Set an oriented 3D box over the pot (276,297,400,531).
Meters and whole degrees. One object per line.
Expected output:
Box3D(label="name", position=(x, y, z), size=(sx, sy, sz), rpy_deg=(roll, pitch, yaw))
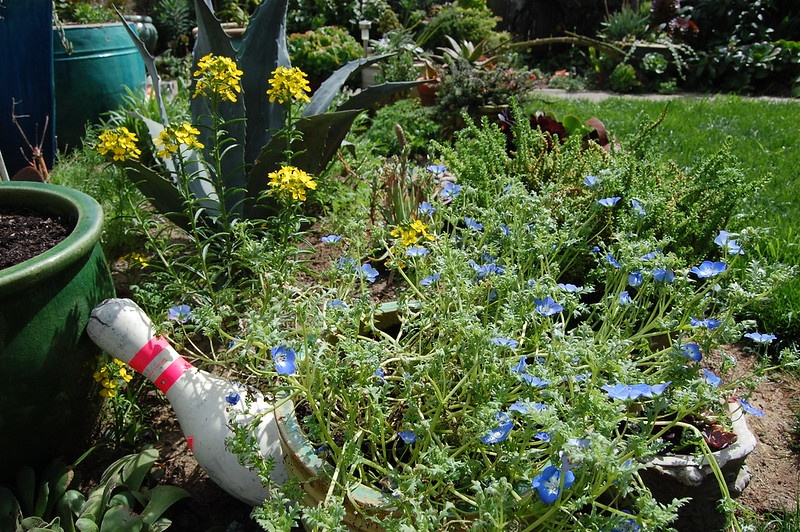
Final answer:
Box3D(label="pot", position=(-0.287, 0.687, 2.959), size=(0.459, 0.372, 0.505), rpy_deg=(9, 25, -4))
